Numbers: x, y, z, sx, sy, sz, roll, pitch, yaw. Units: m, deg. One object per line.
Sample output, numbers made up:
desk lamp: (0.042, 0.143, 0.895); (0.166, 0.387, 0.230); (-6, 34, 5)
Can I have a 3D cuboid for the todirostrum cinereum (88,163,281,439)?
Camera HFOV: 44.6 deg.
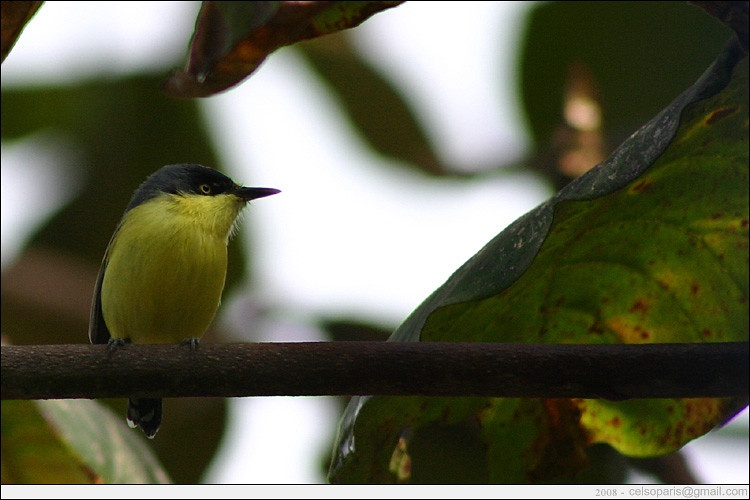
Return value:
todirostrum cinereum: (-1.191, 0.076, 5.636); (1.049, 2.144, 1.282); (2, 2, -7)
